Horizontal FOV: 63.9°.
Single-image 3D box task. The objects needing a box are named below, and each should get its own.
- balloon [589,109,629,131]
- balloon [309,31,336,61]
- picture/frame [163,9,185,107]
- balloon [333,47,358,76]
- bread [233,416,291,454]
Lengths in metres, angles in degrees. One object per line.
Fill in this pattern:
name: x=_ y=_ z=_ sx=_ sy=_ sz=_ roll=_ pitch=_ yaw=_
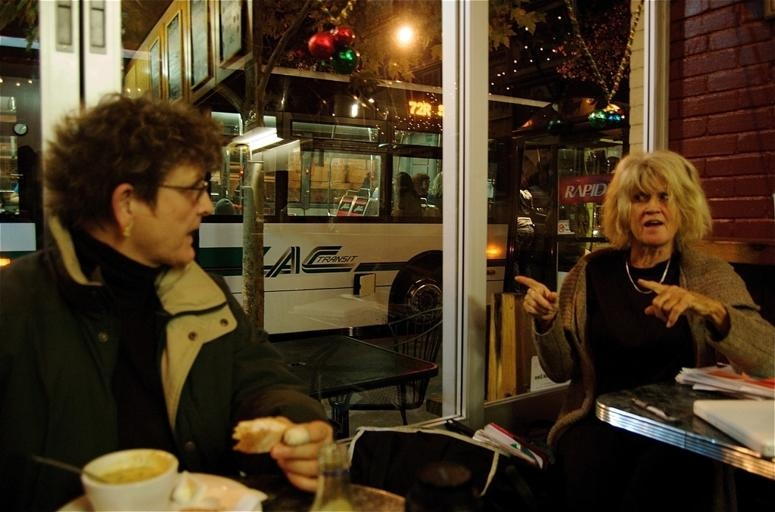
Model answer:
balloon: x=1.529 y=-0.937 z=4.309 sx=0.390 sy=0.139 sz=0.050 roll=-5 pitch=6 yaw=-36
balloon: x=-0.363 y=-1.125 z=3.376 sx=0.143 sy=0.134 sz=0.136 roll=15 pitch=2 yaw=-11
picture/frame: x=-1.001 y=-0.924 z=2.900 sx=0.069 sy=0.405 sz=0.140 roll=-3 pitch=5 yaw=-15
balloon: x=-0.223 y=-1.086 z=3.500 sx=0.121 sy=0.120 sz=0.141 roll=16 pitch=-30 yaw=28
bread: x=-0.429 y=0.580 z=2.034 sx=0.190 sy=0.099 sz=0.041 roll=-8 pitch=1 yaw=-27
